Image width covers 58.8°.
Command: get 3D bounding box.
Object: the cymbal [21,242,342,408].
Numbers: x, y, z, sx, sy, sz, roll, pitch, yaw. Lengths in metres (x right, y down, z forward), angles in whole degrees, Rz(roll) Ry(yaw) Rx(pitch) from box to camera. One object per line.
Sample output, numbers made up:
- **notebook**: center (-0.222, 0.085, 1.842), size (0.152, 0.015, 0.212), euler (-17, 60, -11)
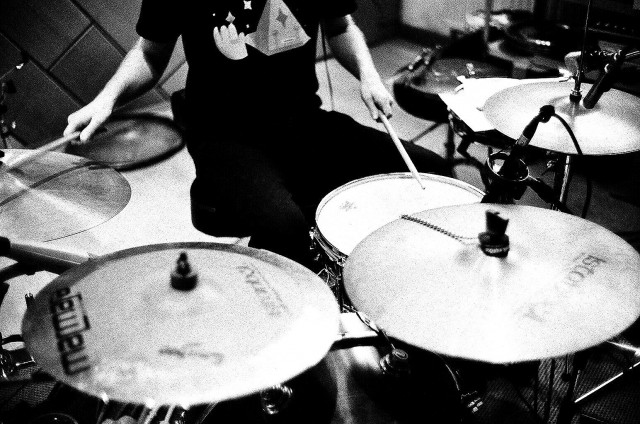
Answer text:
- **cymbal**: center (-0.273, 0.226, 1.153), size (0.607, 0.169, 0.337), euler (-12, 57, 3)
